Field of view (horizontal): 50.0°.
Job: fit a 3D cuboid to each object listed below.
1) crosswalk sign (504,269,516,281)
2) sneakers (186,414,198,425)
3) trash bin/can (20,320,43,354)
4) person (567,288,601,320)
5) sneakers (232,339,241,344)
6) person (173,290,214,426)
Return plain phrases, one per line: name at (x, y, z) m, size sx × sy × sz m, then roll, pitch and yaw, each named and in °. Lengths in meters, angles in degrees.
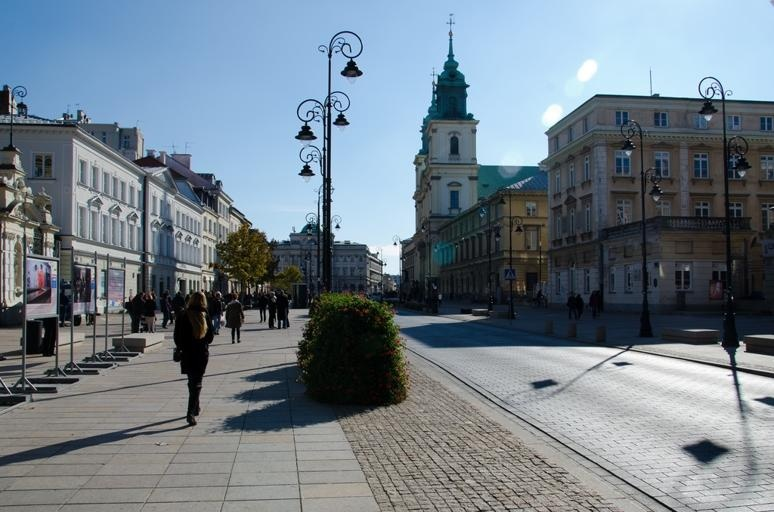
crosswalk sign at (8.185, 1.202, 55.166) m, size 0.946 × 0.956 × 0.536 m, roll -1°, pitch -5°, yaw 1°
sneakers at (-4.569, 3.822, 19.388) m, size 0.207 × 0.262 × 0.409 m, roll 0°, pitch -5°, yaw -11°
trash bin/can at (-12.215, 2.813, 28.678) m, size 0.508 × 1.177 × 0.446 m, roll 1°, pitch -5°, yaw -26°
person at (12.819, 3.150, 53.682) m, size 1.617 × 1.564 × 0.570 m, roll 2°, pitch -10°, yaw -12°
sneakers at (-6.223, 3.521, 34.022) m, size 0.332 × 0.147 × 0.123 m, roll -10°, pitch -5°, yaw 36°
person at (-4.615, 2.420, 19.771) m, size 0.896 × 3.121 × 0.950 m, roll 0°, pitch -5°, yaw -15°
